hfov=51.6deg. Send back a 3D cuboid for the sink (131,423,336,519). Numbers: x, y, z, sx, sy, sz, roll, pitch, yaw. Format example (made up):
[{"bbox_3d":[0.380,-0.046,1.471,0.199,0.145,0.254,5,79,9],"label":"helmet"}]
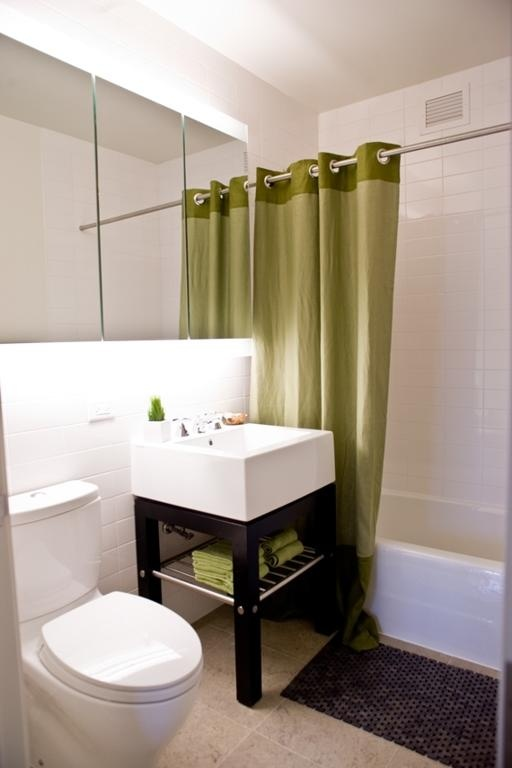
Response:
[{"bbox_3d":[-0.078,0.272,1.884,0.548,0.254,0.642,1,5,39],"label":"sink"}]

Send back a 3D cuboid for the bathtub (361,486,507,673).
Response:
[{"bbox_3d":[0.602,0.475,1.870,0.394,0.384,0.715,0,7,5],"label":"bathtub"}]
